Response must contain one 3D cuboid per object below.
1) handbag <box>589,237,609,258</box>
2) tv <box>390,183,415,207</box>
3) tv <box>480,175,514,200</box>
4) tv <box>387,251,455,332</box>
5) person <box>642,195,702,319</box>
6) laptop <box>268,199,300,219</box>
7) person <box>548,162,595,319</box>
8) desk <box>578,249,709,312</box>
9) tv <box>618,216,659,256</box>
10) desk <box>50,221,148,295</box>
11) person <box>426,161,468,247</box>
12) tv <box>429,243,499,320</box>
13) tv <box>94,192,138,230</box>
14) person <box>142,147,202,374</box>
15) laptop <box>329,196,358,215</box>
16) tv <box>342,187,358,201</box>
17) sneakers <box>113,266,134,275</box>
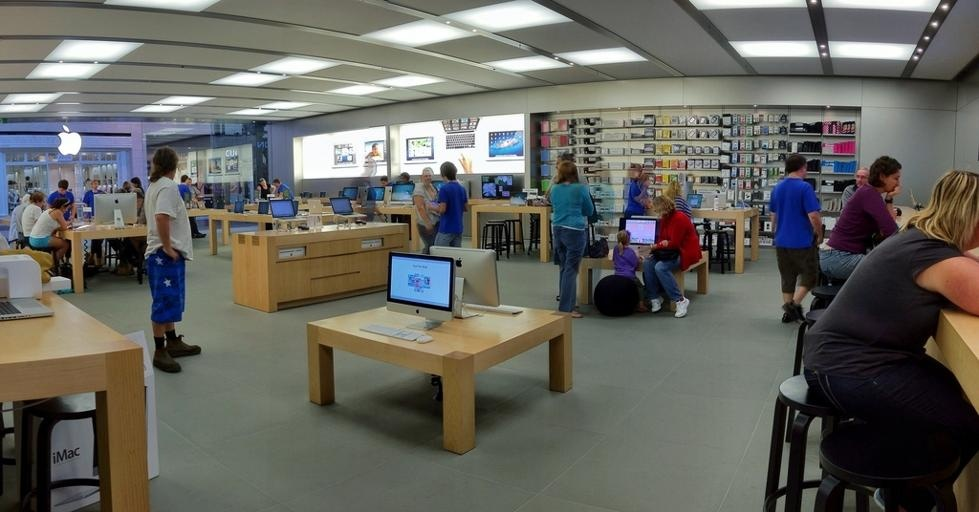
[{"bbox_3d":[1.832,-0.125,9.959,0.399,0.326,0.278,-2,6,14],"label":"handbag"},{"bbox_3d":[-2.161,-1.472,14.629,0.792,0.608,0.281,0,-9,19],"label":"tv"},{"bbox_3d":[0.212,-1.851,16.148,0.945,0.566,0.236,3,9,20],"label":"tv"},{"bbox_3d":[-0.774,0.397,6.723,1.004,0.791,0.313,2,4,27],"label":"tv"},{"bbox_3d":[2.853,-0.023,9.416,0.750,1.828,0.742,3,12,24],"label":"person"},{"bbox_3d":[-4.147,-0.922,11.856,0.443,0.349,0.605,-6,1,27],"label":"laptop"},{"bbox_3d":[1.182,-0.242,9.104,0.646,2.380,0.876,4,12,27],"label":"person"},{"bbox_3d":[2.391,0.609,9.962,1.298,0.671,1.809,3,6,31],"label":"desk"},{"bbox_3d":[2.594,-0.352,10.181,0.801,0.652,0.640,1,-1,30],"label":"tv"},{"bbox_3d":[-7.692,0.013,11.606,1.512,0.975,1.406,-2,5,-38],"label":"desk"},{"bbox_3d":[-0.769,-0.914,10.778,0.644,1.532,1.159,-3,11,-4],"label":"person"},{"bbox_3d":[-0.315,0.327,6.847,0.875,0.711,0.296,4,20,25],"label":"tv"},{"bbox_3d":[-7.386,-0.865,11.664,0.764,0.566,0.247,-6,14,-44],"label":"tv"},{"bbox_3d":[-4.185,0.040,7.663,0.622,2.822,0.666,-8,12,-26],"label":"person"},{"bbox_3d":[-3.252,-1.081,12.985,0.475,0.342,0.552,7,6,40],"label":"laptop"},{"bbox_3d":[-4.162,-1.829,17.637,0.540,0.548,0.900,1,8,-13],"label":"tv"},{"bbox_3d":[-7.720,0.305,12.450,0.325,0.098,0.190,-6,0,19],"label":"sneakers"}]
